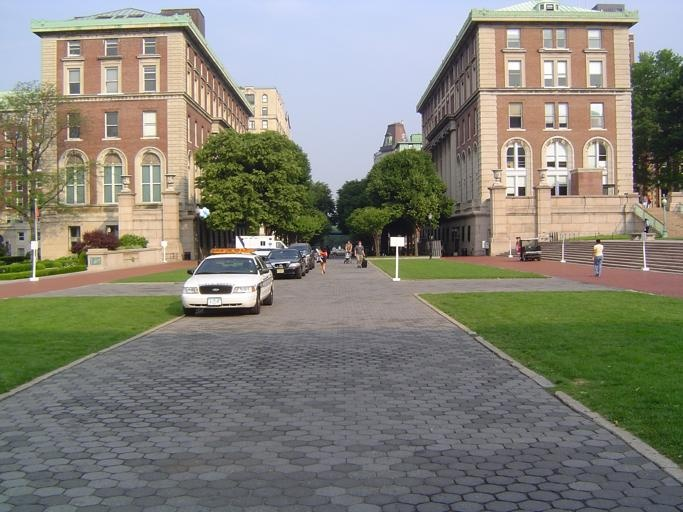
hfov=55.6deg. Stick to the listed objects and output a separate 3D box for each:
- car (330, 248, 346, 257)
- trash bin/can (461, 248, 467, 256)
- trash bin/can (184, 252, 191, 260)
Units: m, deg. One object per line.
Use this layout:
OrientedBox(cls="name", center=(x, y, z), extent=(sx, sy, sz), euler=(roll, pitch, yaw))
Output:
OrientedBox(cls="car", center=(-0.842, -0.161, 94.145), extent=(2.506, 0.756, 1.086), euler=(-2, 9, 8))
OrientedBox(cls="trash bin/can", center=(12.375, -0.317, 65.150), extent=(0.583, 0.961, 0.555), euler=(1, 0, -3))
OrientedBox(cls="trash bin/can", center=(-13.686, 0.107, 56.995), extent=(0.763, 0.678, 0.549), euler=(0, -5, -14))
